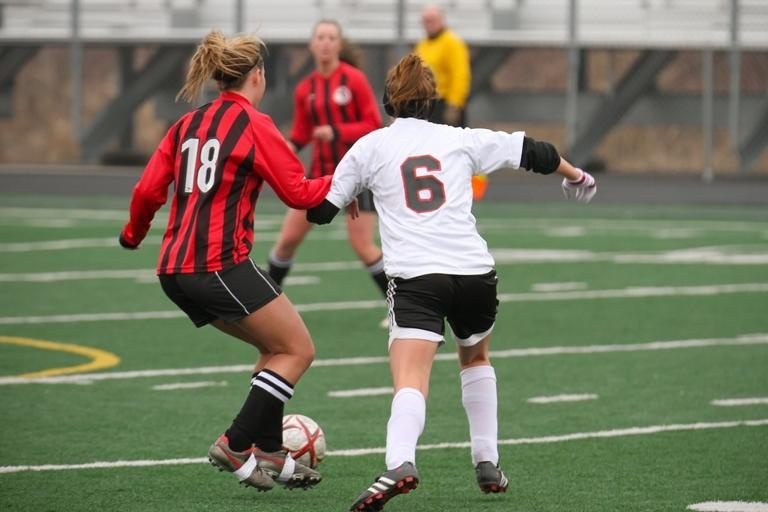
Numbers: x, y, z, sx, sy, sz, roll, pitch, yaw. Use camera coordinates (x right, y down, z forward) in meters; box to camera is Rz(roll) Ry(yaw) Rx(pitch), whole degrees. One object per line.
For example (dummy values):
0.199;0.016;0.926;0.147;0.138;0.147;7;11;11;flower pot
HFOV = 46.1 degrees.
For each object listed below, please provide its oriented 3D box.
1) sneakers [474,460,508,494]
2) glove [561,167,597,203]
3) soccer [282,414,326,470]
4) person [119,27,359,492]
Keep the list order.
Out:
0.655;1.348;5.529;0.153;0.192;0.385;-8;-21;16;sneakers
1.260;-0.449;5.919;0.226;0.107;0.298;-5;-40;2;glove
-0.467;1.159;5.753;0.302;0.295;0.299;24;-37;-37;soccer
-0.894;0.069;5.467;1.232;2.723;0.855;14;20;36;person
